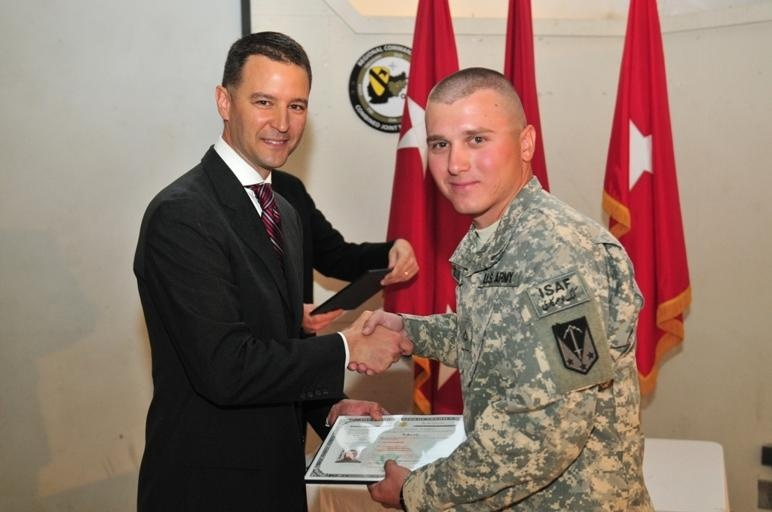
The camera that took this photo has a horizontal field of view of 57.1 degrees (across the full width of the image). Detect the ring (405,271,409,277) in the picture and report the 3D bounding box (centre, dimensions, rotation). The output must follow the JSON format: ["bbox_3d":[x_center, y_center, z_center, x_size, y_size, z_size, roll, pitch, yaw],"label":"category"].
[{"bbox_3d":[0.136,0.117,4.560,0.028,0.027,0.007,1,6,-26],"label":"ring"}]
